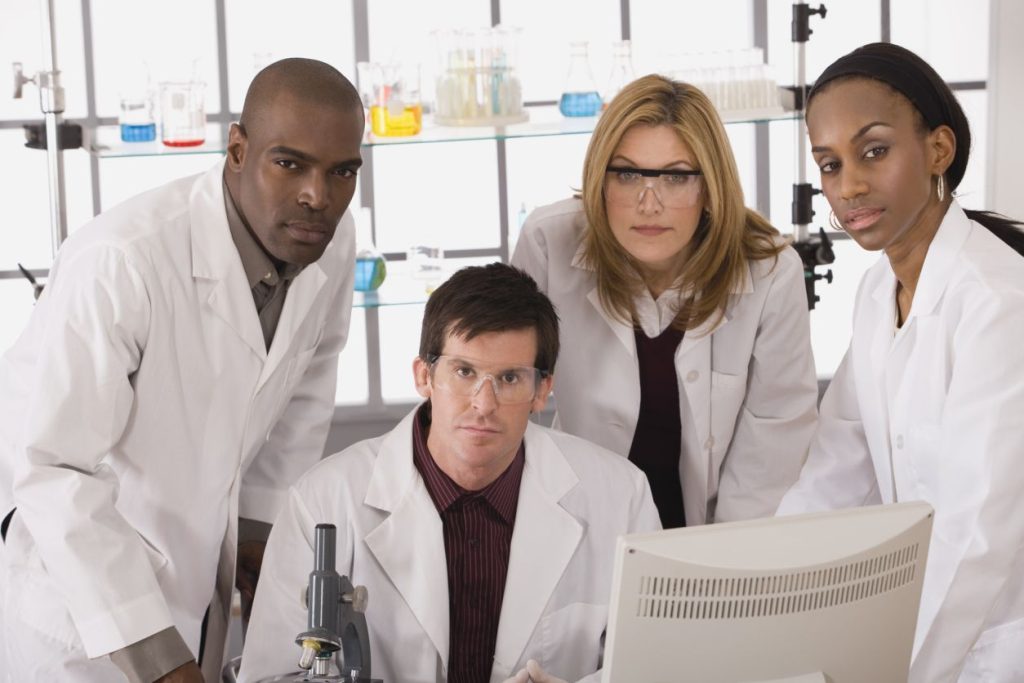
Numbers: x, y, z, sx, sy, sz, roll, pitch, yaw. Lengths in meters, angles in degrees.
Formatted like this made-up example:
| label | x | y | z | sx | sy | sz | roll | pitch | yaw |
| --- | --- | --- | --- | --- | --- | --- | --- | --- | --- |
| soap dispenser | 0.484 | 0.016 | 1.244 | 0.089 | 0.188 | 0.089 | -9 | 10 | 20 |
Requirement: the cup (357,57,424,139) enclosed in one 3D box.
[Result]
| label | x | y | z | sx | sy | sz | roll | pitch | yaw |
| --- | --- | --- | --- | --- | --- | --- | --- | --- | --- |
| cup | -0.397 | -0.776 | 3.254 | 0.172 | 0.274 | 0.259 | -9 | 8 | -24 |

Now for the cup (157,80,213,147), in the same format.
| label | x | y | z | sx | sy | sz | roll | pitch | yaw |
| --- | --- | --- | --- | --- | --- | --- | --- | --- | --- |
| cup | -1.053 | -0.724 | 3.202 | 0.209 | 0.231 | 0.152 | -6 | 10 | -33 |

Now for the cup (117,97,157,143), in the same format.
| label | x | y | z | sx | sy | sz | roll | pitch | yaw |
| --- | --- | --- | --- | --- | --- | --- | --- | --- | --- |
| cup | -1.217 | -0.706 | 3.253 | 0.140 | 0.157 | 0.095 | 1 | 4 | -17 |

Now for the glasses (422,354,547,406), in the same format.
| label | x | y | z | sx | sy | sz | roll | pitch | yaw |
| --- | --- | --- | --- | --- | --- | --- | --- | --- | --- |
| glasses | -0.059 | 0.084 | 2.189 | 0.236 | 0.100 | 0.055 | -1 | 5 | -1 |
